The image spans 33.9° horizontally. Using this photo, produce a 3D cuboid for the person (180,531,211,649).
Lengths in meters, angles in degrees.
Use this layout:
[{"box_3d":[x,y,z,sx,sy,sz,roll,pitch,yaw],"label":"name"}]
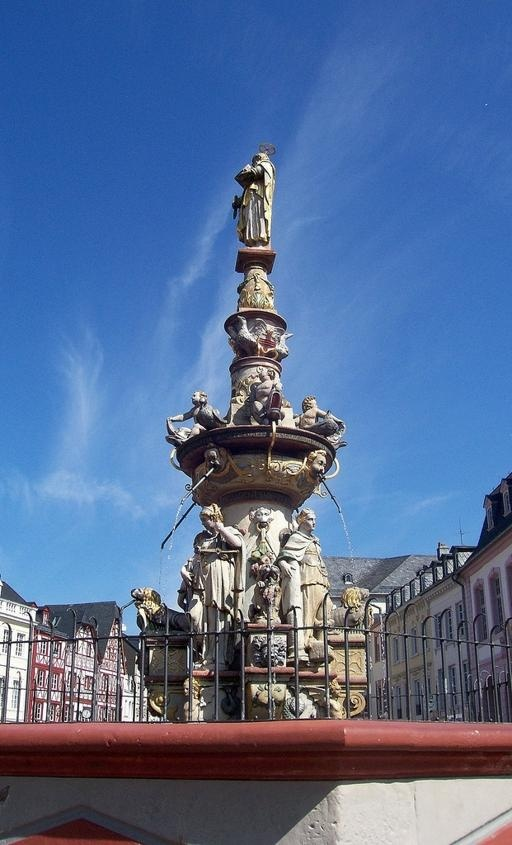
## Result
[{"box_3d":[-0.711,1.975,10.029,0.443,1.464,0.405,-5,-38,3],"label":"person"}]
